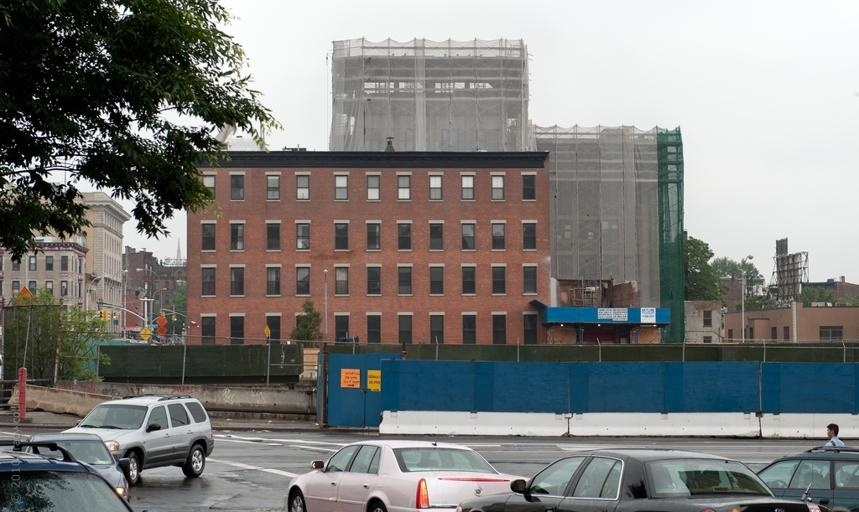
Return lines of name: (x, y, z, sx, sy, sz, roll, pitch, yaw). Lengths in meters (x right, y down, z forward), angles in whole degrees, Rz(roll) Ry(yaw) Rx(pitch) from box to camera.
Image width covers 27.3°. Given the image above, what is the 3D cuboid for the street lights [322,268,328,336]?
street lights: (-8.798, 4.005, 150.221, 0.411, 5.976, 0.478, 0, -8, -7)
